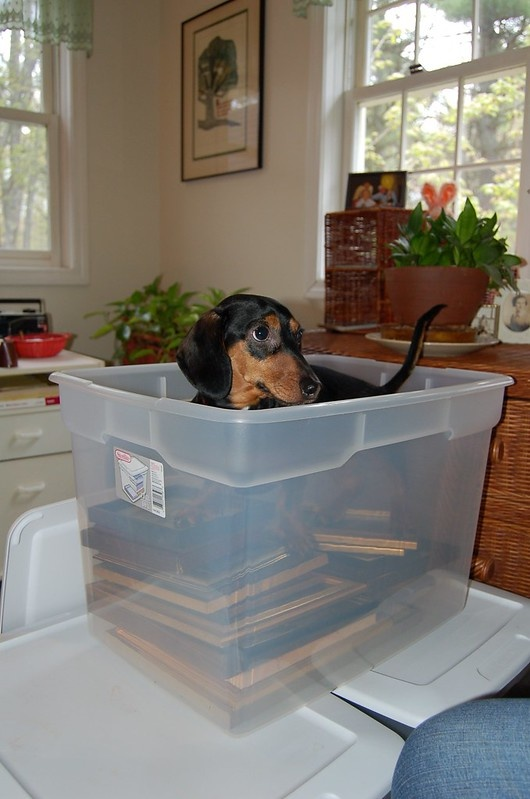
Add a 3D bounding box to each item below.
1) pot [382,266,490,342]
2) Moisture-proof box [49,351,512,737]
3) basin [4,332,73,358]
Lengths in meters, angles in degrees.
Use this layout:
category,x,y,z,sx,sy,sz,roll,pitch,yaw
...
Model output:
category,x,y,z,sx,sy,sz,roll,pitch,yaw
pot,0.254,-0.138,0.912,0.135,0.091,0.130,0,5,0
Moisture-proof box,0.030,0.071,0.577,0.340,0.212,0.257,-7,11,-42
basin,-0.812,-0.193,2.222,0.182,0.085,0.204,-1,9,-22
